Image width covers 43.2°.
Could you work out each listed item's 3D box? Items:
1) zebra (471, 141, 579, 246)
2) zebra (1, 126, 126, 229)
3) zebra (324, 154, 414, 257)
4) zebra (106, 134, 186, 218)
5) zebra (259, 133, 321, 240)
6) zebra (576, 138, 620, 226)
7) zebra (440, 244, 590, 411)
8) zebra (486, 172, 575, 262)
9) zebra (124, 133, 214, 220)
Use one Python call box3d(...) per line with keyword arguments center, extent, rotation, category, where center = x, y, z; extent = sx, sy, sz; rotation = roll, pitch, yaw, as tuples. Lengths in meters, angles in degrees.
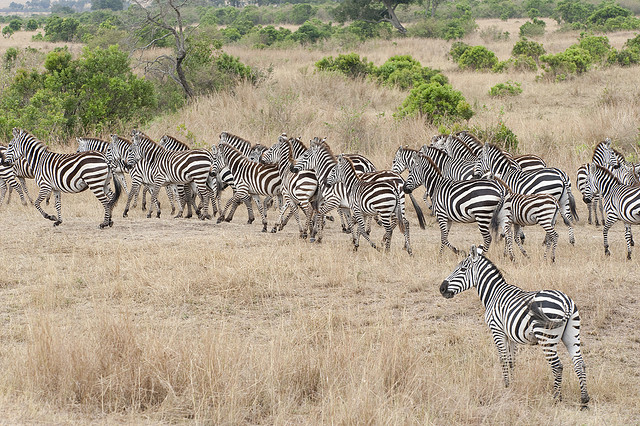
box3d(center=(5.380, -0.438, 21.177), extent=(1.001, 2.742, 3.262), rotation=(-19, 18, -33), category="zebra")
box3d(center=(-6.850, -0.937, 21.725), extent=(2.765, 2.482, 1.006), rotation=(-2, 1, 25), category="zebra")
box3d(center=(1.176, -0.138, 20.276), extent=(2.598, 2.405, 0.738), rotation=(9, 18, 37), category="zebra")
box3d(center=(-4.662, -0.888, 23.281), extent=(0.830, 2.407, 3.380), rotation=(-5, -7, 34), category="zebra")
box3d(center=(-0.686, -0.677, 21.601), extent=(0.902, 2.642, 2.958), rotation=(0, 13, -39), category="zebra")
box3d(center=(7.683, -1.304, 22.191), extent=(0.813, 1.977, 2.668), rotation=(3, 11, 16), category="zebra")
box3d(center=(3.756, 2.196, 15.943), extent=(3.108, 2.820, 1.048), rotation=(4, 7, 42), category="zebra")
box3d(center=(4.949, 0.112, 19.618), extent=(2.456, 2.179, 0.723), rotation=(5, 9, 37), category="zebra")
box3d(center=(-4.038, -1.054, 22.695), extent=(2.861, 2.384, 0.890), rotation=(2, 10, 14), category="zebra")
